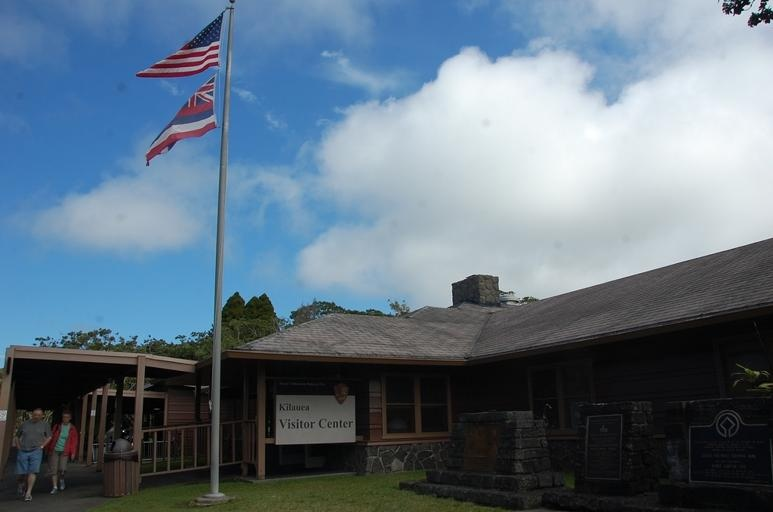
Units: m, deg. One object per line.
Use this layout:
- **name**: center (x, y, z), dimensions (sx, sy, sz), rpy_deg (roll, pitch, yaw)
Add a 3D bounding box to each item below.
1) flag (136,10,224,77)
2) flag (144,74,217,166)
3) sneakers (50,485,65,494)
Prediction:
- **flag**: center (-5.299, -5.621, 15.228), dimensions (2.104, 2.364, 0.150), rpy_deg (-1, -27, 2)
- **flag**: center (-4.989, -3.500, 14.376), dimensions (2.058, 0.210, 2.310), rpy_deg (-35, -18, -38)
- **sneakers**: center (-9.046, 6.460, 15.872), dimensions (0.191, 0.203, 0.519), rpy_deg (0, -21, -17)
